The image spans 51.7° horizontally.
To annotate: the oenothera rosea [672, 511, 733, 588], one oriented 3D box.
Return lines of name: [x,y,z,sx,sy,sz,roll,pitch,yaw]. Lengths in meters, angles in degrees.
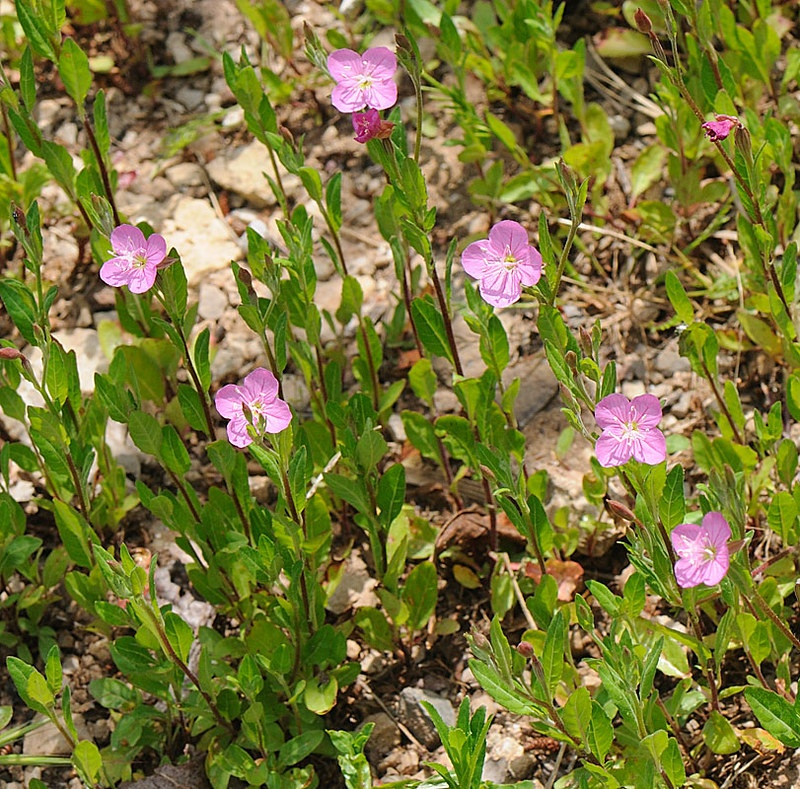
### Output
oenothera rosea: [0.617,0.318,1.723,0.140,0.165,0.064,-31,90,20]

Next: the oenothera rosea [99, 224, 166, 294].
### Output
oenothera rosea: [-0.656,-0.335,2.046,0.141,0.079,0.204,-21,70,31]

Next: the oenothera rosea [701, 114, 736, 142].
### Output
oenothera rosea: [0.777,-0.636,2.019,0.090,0.047,0.067,-31,50,-30]

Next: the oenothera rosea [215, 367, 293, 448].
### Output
oenothera rosea: [-0.338,0.024,1.897,0.191,0.106,0.206,2,40,31]

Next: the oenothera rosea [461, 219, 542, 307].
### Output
oenothera rosea: [0.266,-0.351,1.981,0.167,0.209,0.088,4,90,16]
